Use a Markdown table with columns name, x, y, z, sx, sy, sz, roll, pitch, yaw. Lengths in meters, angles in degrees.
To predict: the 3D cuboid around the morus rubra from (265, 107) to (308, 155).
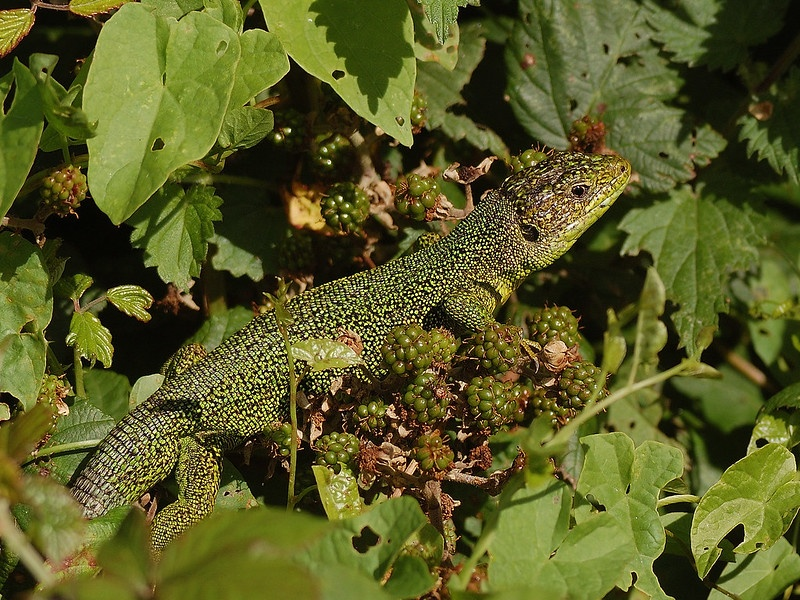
| name | x | y | z | sx | sy | sz | roll | pitch | yaw |
| --- | --- | --- | --- | --- | --- | --- | --- | --- | --- |
| morus rubra | -0.463 | -0.704 | 3.962 | 0.153 | 0.094 | 0.166 | 19 | 80 | 4 |

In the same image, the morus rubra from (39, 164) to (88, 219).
| name | x | y | z | sx | sy | sz | roll | pitch | yaw |
| --- | --- | --- | --- | --- | --- | --- | --- | --- | --- |
| morus rubra | -1.282 | -0.418 | 3.591 | 0.140 | 0.206 | 0.155 | -26 | 83 | -11 |

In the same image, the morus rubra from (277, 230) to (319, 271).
| name | x | y | z | sx | sy | sz | roll | pitch | yaw |
| --- | --- | --- | --- | --- | --- | --- | --- | --- | --- |
| morus rubra | -0.448 | -0.211 | 4.117 | 0.140 | 0.097 | 0.183 | -4 | 93 | -11 |

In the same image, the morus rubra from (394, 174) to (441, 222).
| name | x | y | z | sx | sy | sz | roll | pitch | yaw |
| --- | --- | --- | --- | --- | --- | --- | --- | --- | --- |
| morus rubra | 0.069 | -0.421 | 3.909 | 0.187 | 0.166 | 0.164 | 13 | 80 | 3 |

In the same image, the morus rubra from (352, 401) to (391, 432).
| name | x | y | z | sx | sy | sz | roll | pitch | yaw |
| --- | --- | --- | --- | --- | --- | --- | --- | --- | --- |
| morus rubra | -0.112 | 0.425 | 3.561 | 0.120 | 0.109 | 0.067 | 17 | 122 | 36 |

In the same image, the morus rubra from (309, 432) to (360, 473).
| name | x | y | z | sx | sy | sz | roll | pitch | yaw |
| --- | --- | --- | --- | --- | --- | --- | --- | --- | --- |
| morus rubra | -0.241 | 0.561 | 3.558 | 0.123 | 0.151 | 0.086 | 7 | 75 | 14 |

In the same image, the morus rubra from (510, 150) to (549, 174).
| name | x | y | z | sx | sy | sz | roll | pitch | yaw |
| --- | --- | --- | --- | --- | --- | --- | --- | --- | --- |
| morus rubra | 0.551 | -0.593 | 4.065 | 0.122 | 0.102 | 0.055 | -34 | 80 | 16 |

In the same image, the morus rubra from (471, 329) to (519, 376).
| name | x | y | z | sx | sy | sz | roll | pitch | yaw |
| --- | --- | --- | --- | --- | --- | --- | --- | --- | --- |
| morus rubra | 0.366 | 0.189 | 3.611 | 0.165 | 0.094 | 0.162 | 38 | 81 | 1 |

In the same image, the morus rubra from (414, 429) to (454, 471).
| name | x | y | z | sx | sy | sz | roll | pitch | yaw |
| --- | --- | --- | --- | --- | --- | --- | --- | --- | --- |
| morus rubra | 0.117 | 0.573 | 3.552 | 0.132 | 0.110 | 0.155 | -33 | 81 | -5 |

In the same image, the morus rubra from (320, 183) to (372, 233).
| name | x | y | z | sx | sy | sz | roll | pitch | yaw |
| --- | --- | --- | --- | --- | --- | --- | --- | --- | --- |
| morus rubra | -0.217 | -0.371 | 3.870 | 0.177 | 0.150 | 0.202 | -15 | 98 | 2 |

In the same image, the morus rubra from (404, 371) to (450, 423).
| name | x | y | z | sx | sy | sz | roll | pitch | yaw |
| --- | --- | --- | --- | --- | --- | --- | --- | --- | --- |
| morus rubra | 0.096 | 0.365 | 3.527 | 0.169 | 0.108 | 0.177 | -29 | 81 | -5 |

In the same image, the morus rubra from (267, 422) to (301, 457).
| name | x | y | z | sx | sy | sz | roll | pitch | yaw |
| --- | --- | --- | --- | --- | --- | --- | --- | --- | --- |
| morus rubra | -0.472 | 0.523 | 3.653 | 0.127 | 0.056 | 0.138 | 18 | 117 | 34 |

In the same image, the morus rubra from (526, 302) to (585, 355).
| name | x | y | z | sx | sy | sz | roll | pitch | yaw |
| --- | --- | --- | --- | --- | --- | --- | --- | --- | --- |
| morus rubra | 0.611 | 0.102 | 3.709 | 0.209 | 0.206 | 0.192 | 0 | 79 | 1 |

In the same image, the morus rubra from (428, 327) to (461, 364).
| name | x | y | z | sx | sy | sz | roll | pitch | yaw |
| --- | --- | --- | --- | --- | --- | --- | --- | --- | --- |
| morus rubra | 0.152 | 0.165 | 3.610 | 0.095 | 0.137 | 0.079 | 1 | 107 | -6 |

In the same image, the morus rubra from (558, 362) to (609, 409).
| name | x | y | z | sx | sy | sz | roll | pitch | yaw |
| --- | --- | --- | --- | --- | --- | --- | --- | --- | --- |
| morus rubra | 0.682 | 0.322 | 3.519 | 0.165 | 0.109 | 0.178 | -21 | 47 | -10 |
